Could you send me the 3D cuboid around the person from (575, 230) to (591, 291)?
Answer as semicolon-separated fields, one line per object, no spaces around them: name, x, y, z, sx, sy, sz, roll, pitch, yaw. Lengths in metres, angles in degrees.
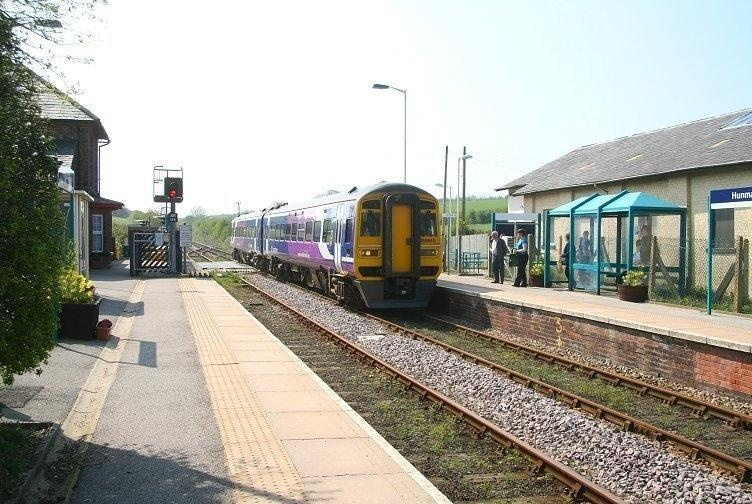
person;7.394;0.251;19.002;0.249;2.034;0.708;-1;2;-20

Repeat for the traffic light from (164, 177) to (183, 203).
traffic light;-11.034;-3.393;29.264;1.352;1.236;0.661;1;3;37

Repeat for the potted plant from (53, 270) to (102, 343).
potted plant;-7.005;1.208;12.602;0.869;1.636;1.148;-1;2;-29

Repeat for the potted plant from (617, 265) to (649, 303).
potted plant;7.838;1.020;16.551;1.149;0.949;1.161;-2;-5;-7

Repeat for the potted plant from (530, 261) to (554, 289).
potted plant;6.659;0.829;21.254;0.971;0.929;1.643;1;2;36
